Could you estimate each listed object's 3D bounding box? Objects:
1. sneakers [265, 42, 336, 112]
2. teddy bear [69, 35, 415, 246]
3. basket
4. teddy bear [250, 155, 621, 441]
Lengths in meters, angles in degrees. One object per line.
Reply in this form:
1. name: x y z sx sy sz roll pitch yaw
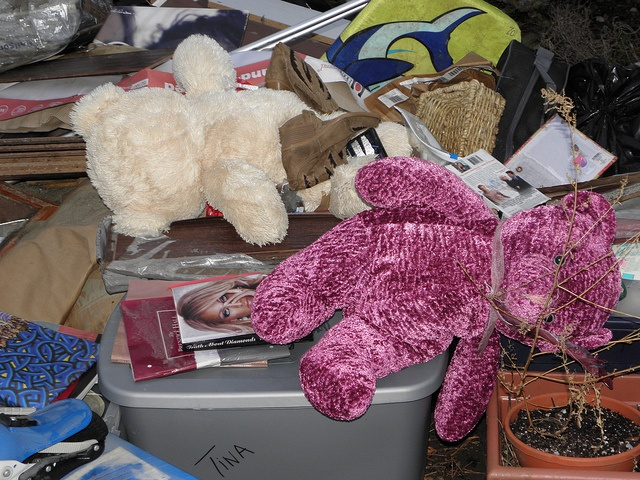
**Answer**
1. sneakers: -0.106 -0.557 1.801 0.135 0.174 0.380 -48 31 10
2. teddy bear: -0.207 -0.258 1.487 0.861 0.287 0.493 -7 67 -6
3. basket: 0.478 -0.415 1.760 0.267 0.165 0.338 -1 46 -3
4. teddy bear: 0.263 0.140 1.209 0.828 0.530 0.522 -5 50 -7
